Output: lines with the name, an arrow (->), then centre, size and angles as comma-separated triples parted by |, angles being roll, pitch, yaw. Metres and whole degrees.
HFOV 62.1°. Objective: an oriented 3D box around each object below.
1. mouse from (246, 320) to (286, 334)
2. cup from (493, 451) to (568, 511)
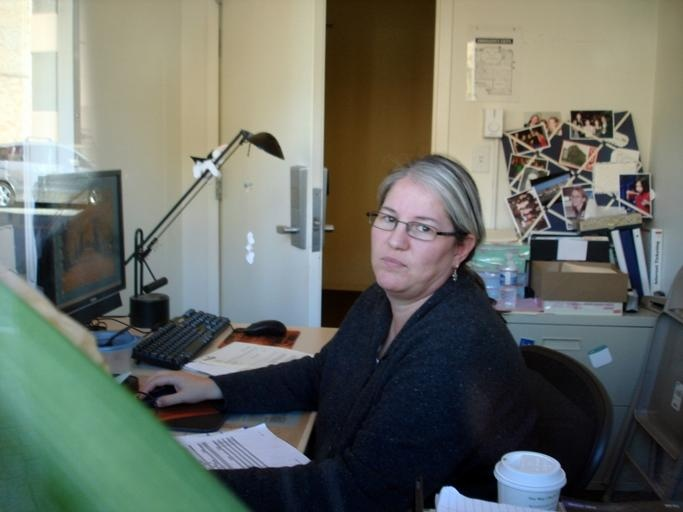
mouse -> -0.237, 0.209, 1.790 | 0.096, 0.039, 0.051 | 0, 9, -19
cup -> 0.250, 0.281, 0.759 | 0.069, 0.056, 0.069 | -1, 15, 0
